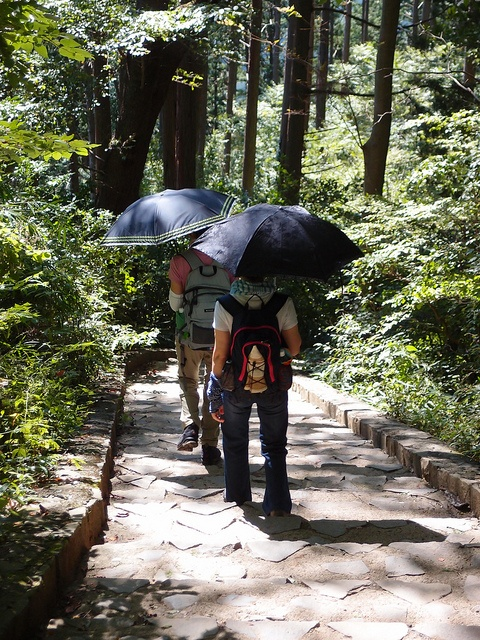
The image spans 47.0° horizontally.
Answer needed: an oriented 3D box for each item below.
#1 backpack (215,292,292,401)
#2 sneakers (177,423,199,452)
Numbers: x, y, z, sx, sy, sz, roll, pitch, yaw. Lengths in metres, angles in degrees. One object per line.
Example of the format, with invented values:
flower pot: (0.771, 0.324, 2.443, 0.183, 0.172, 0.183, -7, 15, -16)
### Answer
backpack: (0.094, 0.158, 3.401, 0.483, 0.605, 0.418, 1, 14, 8)
sneakers: (-0.448, 1.047, 4.822, 0.130, 0.147, 0.319, 8, -29, -16)
